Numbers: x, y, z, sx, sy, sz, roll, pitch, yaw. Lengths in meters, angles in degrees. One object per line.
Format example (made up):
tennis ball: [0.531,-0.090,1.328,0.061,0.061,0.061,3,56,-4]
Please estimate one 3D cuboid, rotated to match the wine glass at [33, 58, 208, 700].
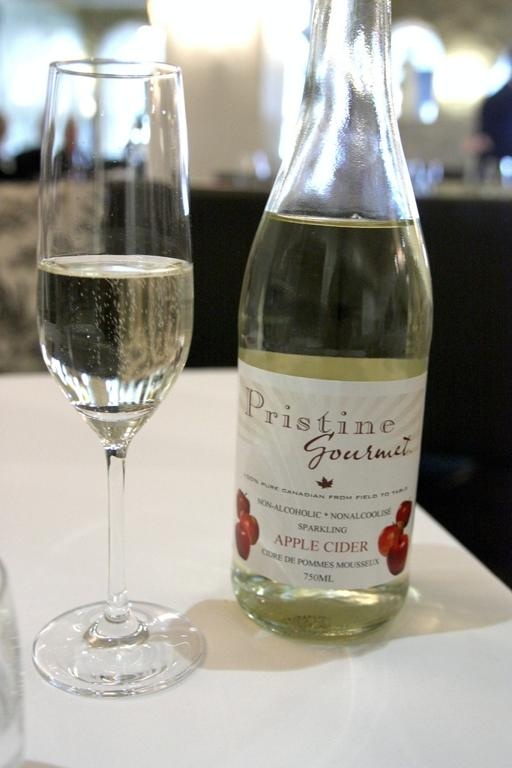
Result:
wine glass: [-0.069,-0.013,0.390,0.083,0.284,0.185,-1,12,-4]
